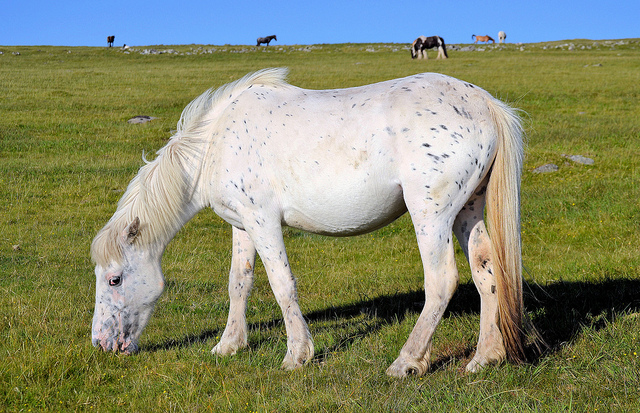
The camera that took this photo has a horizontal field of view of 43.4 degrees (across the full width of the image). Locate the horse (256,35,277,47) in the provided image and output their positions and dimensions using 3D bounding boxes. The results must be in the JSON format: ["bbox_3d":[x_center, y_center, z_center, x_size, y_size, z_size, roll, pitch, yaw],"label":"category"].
[{"bbox_3d":[-6.968,-21.510,103.336,2.083,0.876,2.079,-8,19,-12],"label":"horse"}]
